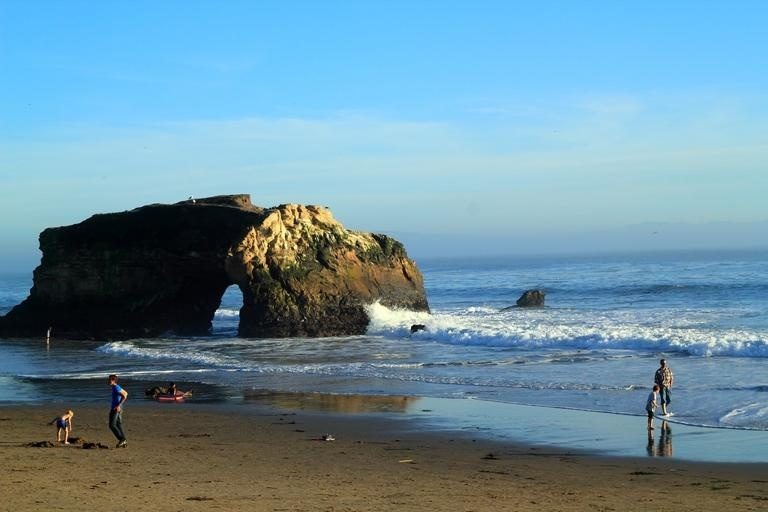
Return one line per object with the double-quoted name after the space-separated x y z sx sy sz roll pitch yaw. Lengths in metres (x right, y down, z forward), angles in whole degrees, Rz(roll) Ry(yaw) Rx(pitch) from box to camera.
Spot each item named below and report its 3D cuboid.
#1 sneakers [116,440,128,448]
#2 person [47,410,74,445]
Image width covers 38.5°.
-8.397 6.003 35.025 0.325 0.188 0.365 -2 4 -11 "sneakers"
-10.641 5.406 35.967 0.710 1.046 2.654 -3 4 -17 "person"
